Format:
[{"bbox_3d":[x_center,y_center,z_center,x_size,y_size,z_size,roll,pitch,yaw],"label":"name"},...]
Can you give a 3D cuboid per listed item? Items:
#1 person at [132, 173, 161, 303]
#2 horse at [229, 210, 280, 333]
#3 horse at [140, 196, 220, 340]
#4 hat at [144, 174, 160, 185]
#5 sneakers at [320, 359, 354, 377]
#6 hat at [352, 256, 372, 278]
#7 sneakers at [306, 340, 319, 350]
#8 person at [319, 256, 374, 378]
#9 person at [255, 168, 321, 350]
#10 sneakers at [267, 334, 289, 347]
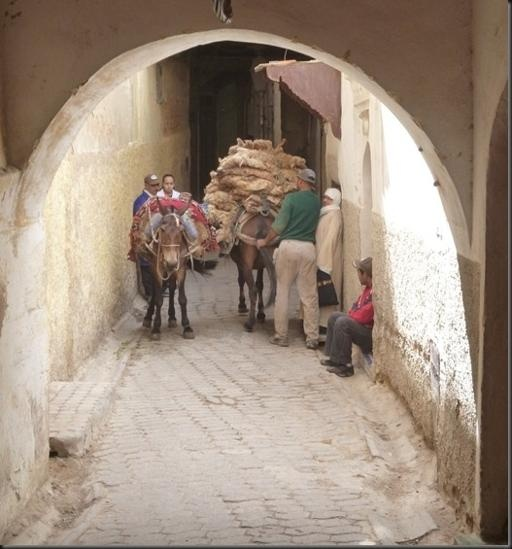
[{"bbox_3d":[-1.246,-0.381,10.250,0.353,1.649,1.110,-1,-10,-8],"label":"person"},{"bbox_3d":[-0.075,-0.173,10.439,0.362,1.315,1.786,3,3,-11],"label":"horse"},{"bbox_3d":[-0.868,-0.050,9.636,0.841,1.536,1.348,0,7,-3],"label":"horse"},{"bbox_3d":[-1.223,-1.094,10.589,0.153,0.120,0.225,-1,8,-12],"label":"hat"},{"bbox_3d":[0.739,0.863,8.160,0.230,0.115,0.130,17,0,-7],"label":"sneakers"},{"bbox_3d":[0.915,-0.053,7.749,0.080,0.148,0.247,-4,8,-31],"label":"hat"},{"bbox_3d":[0.577,0.724,9.158,0.105,0.128,0.085,0,-6,-1],"label":"sneakers"},{"bbox_3d":[0.830,0.393,7.953,0.380,1.101,0.675,0,7,-4],"label":"person"},{"bbox_3d":[0.396,-0.147,9.238,0.489,1.795,0.406,0,7,2],"label":"person"},{"bbox_3d":[0.232,0.687,9.357,0.083,0.140,0.186,-2,13,-25],"label":"sneakers"}]
